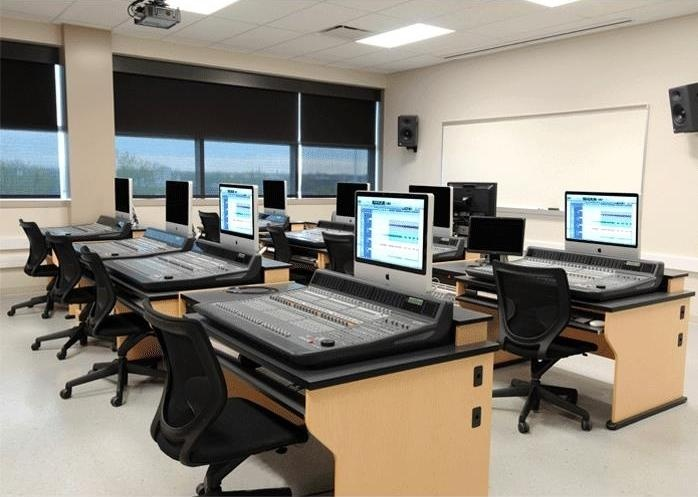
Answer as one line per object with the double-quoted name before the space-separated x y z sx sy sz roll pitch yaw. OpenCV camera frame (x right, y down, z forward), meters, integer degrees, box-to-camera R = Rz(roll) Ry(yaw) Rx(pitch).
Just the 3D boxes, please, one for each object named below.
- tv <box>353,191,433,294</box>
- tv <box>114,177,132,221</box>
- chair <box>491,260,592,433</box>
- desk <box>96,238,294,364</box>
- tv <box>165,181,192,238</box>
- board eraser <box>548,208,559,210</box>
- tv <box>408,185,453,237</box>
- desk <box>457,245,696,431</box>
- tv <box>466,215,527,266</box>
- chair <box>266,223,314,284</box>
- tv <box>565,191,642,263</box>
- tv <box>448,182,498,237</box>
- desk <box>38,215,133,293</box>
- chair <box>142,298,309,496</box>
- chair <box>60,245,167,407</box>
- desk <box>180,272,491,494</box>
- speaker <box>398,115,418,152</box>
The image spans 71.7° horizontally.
"tv" 0.225 -0.052 2.747 0.614 0.503 0.059 6 -7 -41
"tv" -2.805 -0.605 6.012 0.064 0.544 0.597 -3 5 -39
"chair" 1.463 0.703 3.644 0.759 1.204 0.561 1 9 5
"desk" -1.213 0.255 3.815 0.787 0.420 1.120 -4 7 -38
"tv" -1.595 -0.367 4.540 0.060 0.474 0.557 -1 5 -35
"board eraser" 3.037 -0.574 7.179 0.171 0.034 0.079 7 11 36
"tv" 0.896 -0.405 5.017 0.072 0.528 0.755 3 7 32
"desk" 1.886 0.530 4.038 1.332 1.115 1.752 -3 5 -35
"tv" 1.342 -0.057 4.371 0.119 0.447 0.546 -9 11 -44
"chair" -0.746 0.090 6.108 0.770 0.891 0.656 -2 7 -22
"tv" 2.108 -0.169 3.992 0.208 0.484 0.613 -1 4 -40
"tv" 1.417 -0.507 5.756 0.618 0.575 0.207 5 0 28
"desk" -3.501 -0.093 6.221 1.157 0.568 1.482 -2 8 -36
"chair" -0.633 0.621 2.423 0.733 0.731 0.461 -2 9 -13
"chair" -1.906 0.628 4.064 0.874 1.078 0.949 2 -3 -29
"desk" -0.021 0.734 2.765 1.140 1.038 1.714 -3 7 -33
"speaker" 1.157 -2.199 9.228 0.437 0.580 0.374 6 17 26
